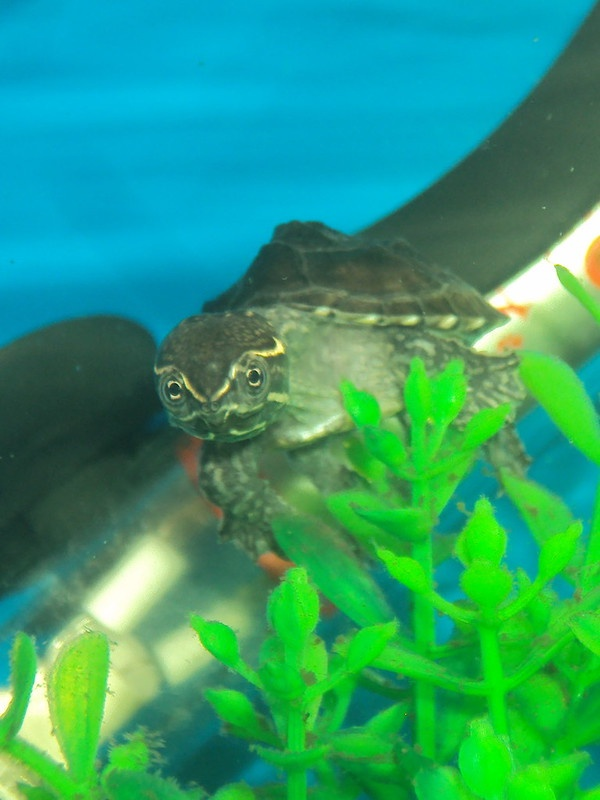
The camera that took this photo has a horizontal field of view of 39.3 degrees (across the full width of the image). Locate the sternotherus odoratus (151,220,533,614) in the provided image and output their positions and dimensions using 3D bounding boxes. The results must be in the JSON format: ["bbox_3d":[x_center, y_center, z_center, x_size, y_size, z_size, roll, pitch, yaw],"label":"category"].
[{"bbox_3d":[0.044,-0.003,0.881,0.301,0.176,0.373,-21,21,39],"label":"sternotherus odoratus"}]
